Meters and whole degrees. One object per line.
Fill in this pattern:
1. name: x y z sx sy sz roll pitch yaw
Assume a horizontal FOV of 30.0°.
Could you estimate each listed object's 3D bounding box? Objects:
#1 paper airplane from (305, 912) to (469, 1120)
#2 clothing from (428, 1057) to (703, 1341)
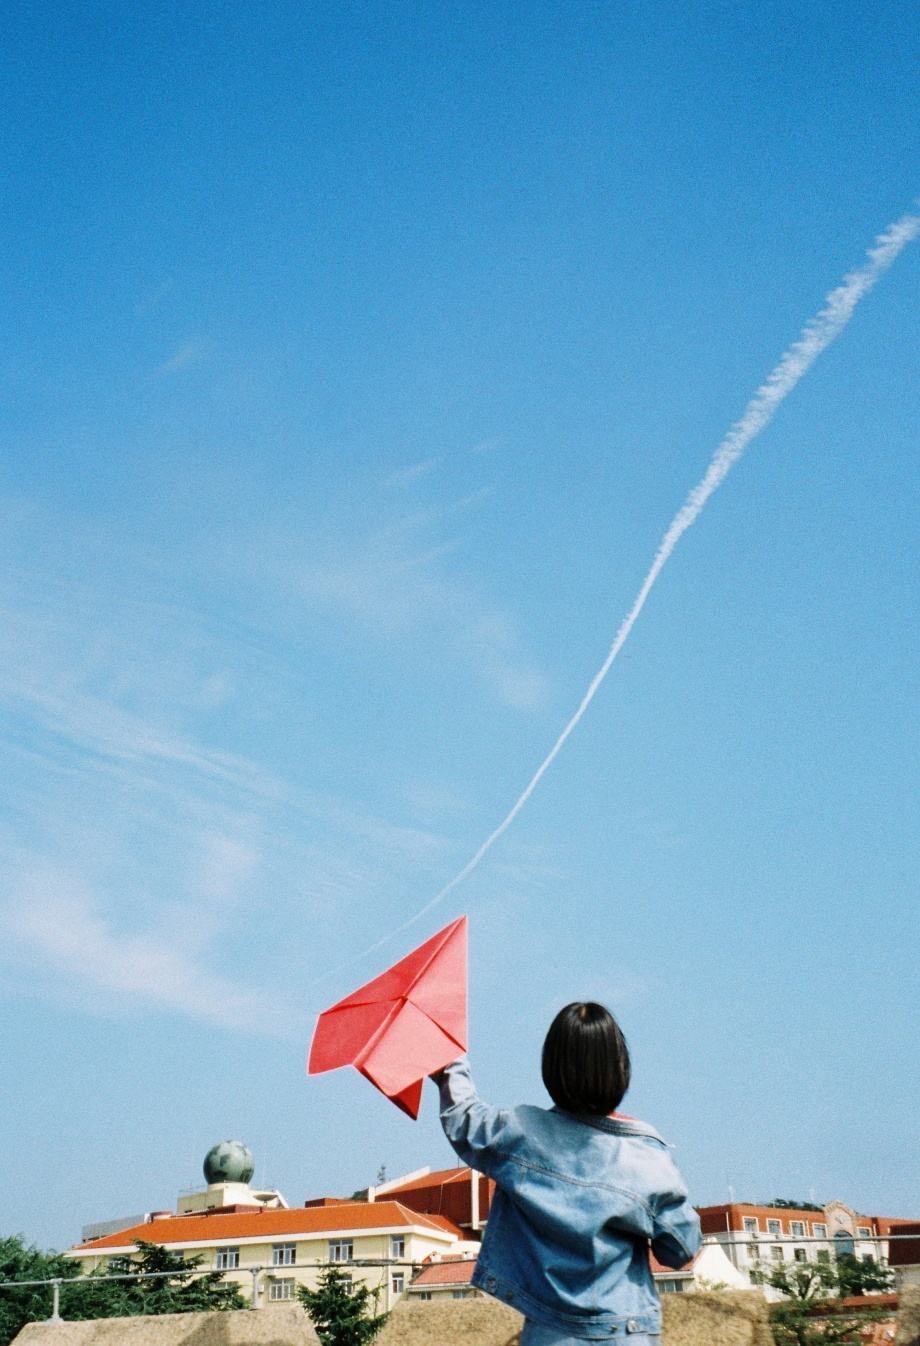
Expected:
1. paper airplane: -0.238 1.080 5.649 0.514 0.633 0.342 -1 -26 -2
2. clothing: 0.320 1.565 5.241 0.774 0.866 0.304 -4 -27 5
